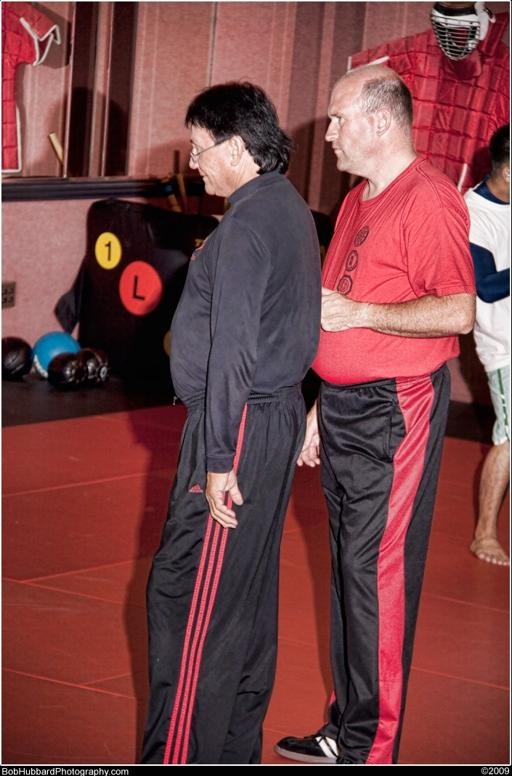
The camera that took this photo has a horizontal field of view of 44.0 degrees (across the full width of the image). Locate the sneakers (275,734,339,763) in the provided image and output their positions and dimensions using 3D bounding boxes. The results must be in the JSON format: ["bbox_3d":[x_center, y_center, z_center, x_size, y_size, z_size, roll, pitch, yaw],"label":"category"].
[{"bbox_3d":[0.130,0.845,1.517,0.162,0.065,0.058,4,-8,8],"label":"sneakers"}]

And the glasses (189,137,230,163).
[{"bbox_3d":[-0.087,-0.429,1.140,0.041,0.013,0.039,-26,6,3],"label":"glasses"}]

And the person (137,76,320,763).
[{"bbox_3d":[-0.050,0.131,1.191,0.289,1.349,0.314,6,9,1],"label":"person"}]
